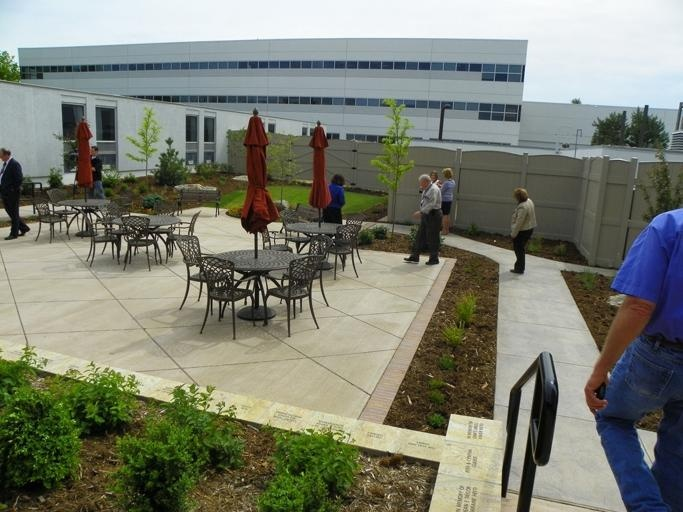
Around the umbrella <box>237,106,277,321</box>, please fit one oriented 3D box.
[{"bbox_3d":[-1.503,-1.302,9.366,0.632,2.594,1.569,-1,15,-10],"label":"umbrella"}]

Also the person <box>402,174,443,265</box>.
[{"bbox_3d":[2.112,-0.856,12.758,0.695,2.226,0.572,6,15,16],"label":"person"}]

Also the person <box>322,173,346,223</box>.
[{"bbox_3d":[-0.157,-1.257,13.363,0.573,1.759,0.599,12,32,14],"label":"person"}]

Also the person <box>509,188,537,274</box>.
[{"bbox_3d":[4.285,-0.556,12.253,0.536,2.011,0.685,7,15,18],"label":"person"}]

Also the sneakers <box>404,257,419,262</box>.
[{"bbox_3d":[1.787,0.093,13.220,0.382,0.169,0.139,5,12,29],"label":"sneakers"}]

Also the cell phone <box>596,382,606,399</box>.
[{"bbox_3d":[1.811,0.942,3.597,0.026,0.101,0.107,8,-5,2],"label":"cell phone"}]
